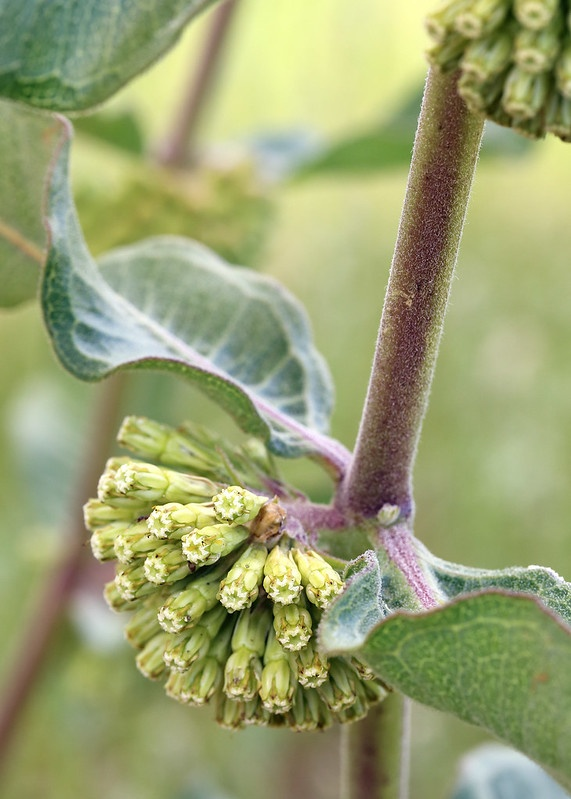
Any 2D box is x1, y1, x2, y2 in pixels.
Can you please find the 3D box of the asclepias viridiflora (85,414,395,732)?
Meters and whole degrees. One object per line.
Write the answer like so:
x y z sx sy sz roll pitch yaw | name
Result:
-0.043 0.150 0.863 0.328 0.204 0.278 46 -59 22 | asclepias viridiflora
